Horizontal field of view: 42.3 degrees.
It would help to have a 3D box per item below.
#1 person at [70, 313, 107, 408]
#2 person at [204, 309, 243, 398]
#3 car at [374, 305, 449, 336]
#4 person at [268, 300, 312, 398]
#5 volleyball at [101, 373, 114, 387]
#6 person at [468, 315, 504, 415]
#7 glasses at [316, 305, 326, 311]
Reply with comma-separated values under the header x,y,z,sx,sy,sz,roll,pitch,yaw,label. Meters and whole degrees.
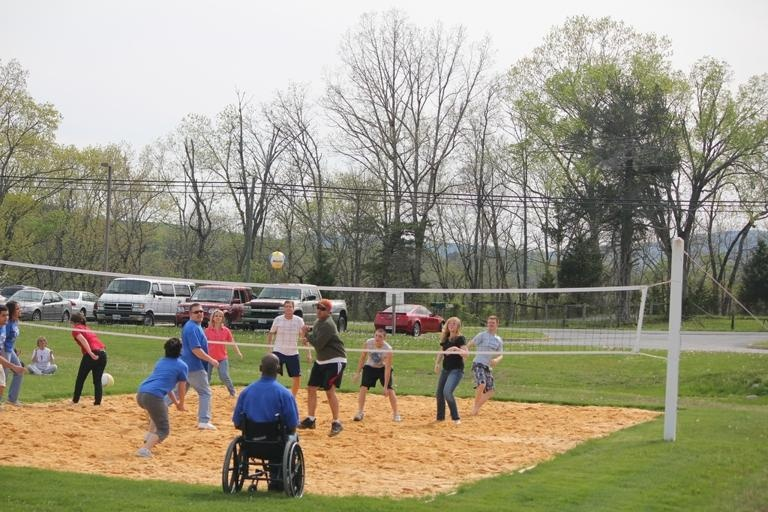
x,y,z,sx,sy,sz,roll,pitch,yaw,label
-9.890,3.469,33.059,1.131,3.190,1.227,-3,-11,-2,person
-5.482,3.252,33.731,0.975,3.004,1.440,0,0,-35,person
1.422,3.285,51.481,2.289,1.624,5.157,2,-1,32,car
-3.228,3.250,33.342,1.415,3.748,0.931,1,15,-4,person
-9.543,4.252,34.239,0.420,0.278,0.415,5,8,-4,volleyball
3.619,3.628,33.813,1.037,3.208,1.361,0,0,-30,person
-2.032,1.606,31.447,0.349,0.208,0.167,-2,-8,37,glasses
